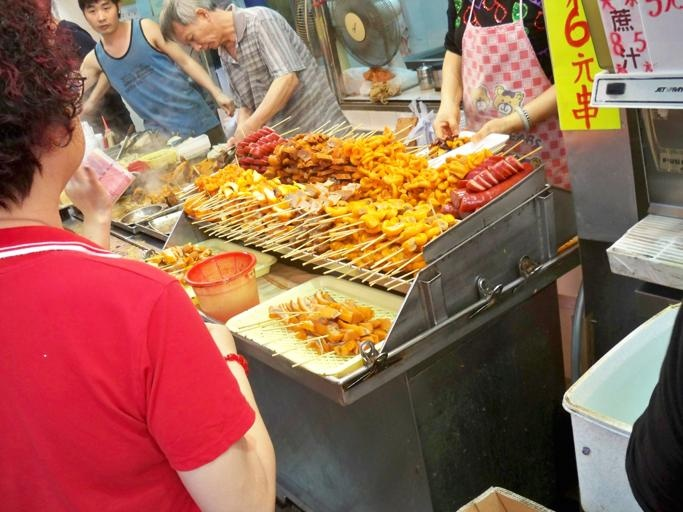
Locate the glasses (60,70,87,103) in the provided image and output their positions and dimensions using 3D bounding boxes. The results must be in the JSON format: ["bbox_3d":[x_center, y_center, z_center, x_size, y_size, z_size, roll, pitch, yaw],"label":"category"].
[{"bbox_3d":[-0.529,-0.341,1.013,0.014,0.056,0.054,-6,52,-10],"label":"glasses"}]

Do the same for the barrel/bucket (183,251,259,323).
[{"bbox_3d":[-0.479,0.130,2.254,0.294,0.226,0.304,-19,31,11],"label":"barrel/bucket"}]

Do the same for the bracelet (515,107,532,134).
[{"bbox_3d":[0.958,-0.689,2.604,0.044,0.127,0.111,-22,15,-10],"label":"bracelet"}]
